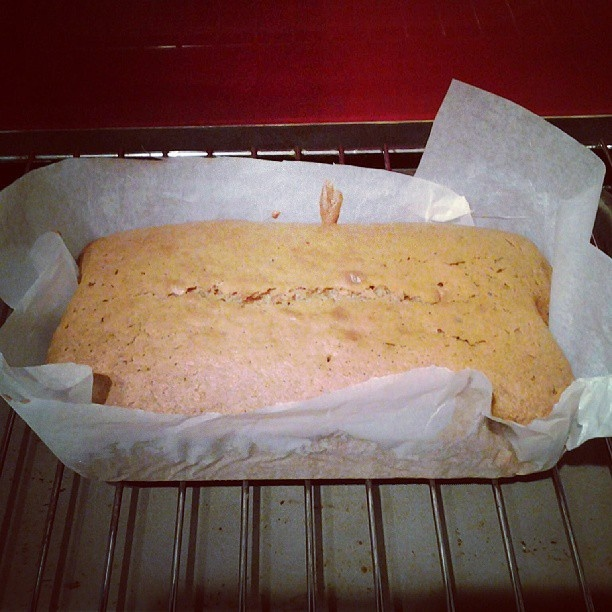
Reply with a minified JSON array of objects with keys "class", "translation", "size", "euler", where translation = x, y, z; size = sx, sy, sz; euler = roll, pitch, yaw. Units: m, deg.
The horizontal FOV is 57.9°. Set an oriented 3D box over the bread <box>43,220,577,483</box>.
[{"class":"bread","translation":[0.008,0.078,0.891],"size":[0.657,0.219,0.385],"euler":[3,49,-3]}]
